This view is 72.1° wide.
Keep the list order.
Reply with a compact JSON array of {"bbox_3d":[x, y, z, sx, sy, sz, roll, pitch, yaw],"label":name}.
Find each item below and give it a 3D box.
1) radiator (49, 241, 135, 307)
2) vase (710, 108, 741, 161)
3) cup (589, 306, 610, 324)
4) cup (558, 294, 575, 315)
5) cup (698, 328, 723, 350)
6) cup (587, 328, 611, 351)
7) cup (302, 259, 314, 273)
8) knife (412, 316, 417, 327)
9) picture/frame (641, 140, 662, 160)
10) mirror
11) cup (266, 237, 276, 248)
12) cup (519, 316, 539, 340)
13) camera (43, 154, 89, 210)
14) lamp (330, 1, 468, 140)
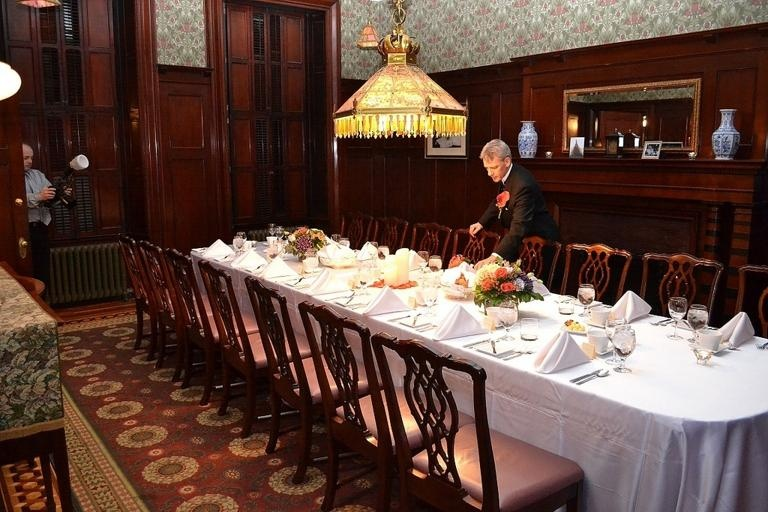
[{"bbox_3d":[-4.238,0.176,7.533,0.839,0.629,0.841,-4,11,-31],"label":"radiator"},{"bbox_3d":[3.671,-1.303,5.675,0.259,0.527,0.288,9,16,34],"label":"vase"},{"bbox_3d":[1.492,0.413,3.662,0.118,0.085,0.108,-4,0,0],"label":"cup"},{"bbox_3d":[1.392,0.378,4.033,0.135,0.139,0.118,-5,10,-28],"label":"cup"},{"bbox_3d":[1.950,0.507,3.220,0.118,0.109,0.147,-6,0,-22],"label":"cup"},{"bbox_3d":[1.330,0.532,3.331,0.127,0.113,0.142,-5,6,-28],"label":"cup"},{"bbox_3d":[-0.715,0.094,5.006,0.120,0.131,0.126,2,8,0],"label":"cup"},{"bbox_3d":[0.209,0.464,3.691,0.037,0.012,0.144,4,11,8],"label":"knife"},{"bbox_3d":[3.168,-1.253,6.256,0.030,0.291,0.254,27,-13,-39],"label":"picture/frame"},{"bbox_3d":[2.968,-1.688,6.433,1.568,0.836,0.154,12,17,38],"label":"mirror"},{"bbox_3d":[-1.262,-0.144,5.935,0.109,0.082,0.110,1,14,0],"label":"cup"},{"bbox_3d":[1.003,0.506,3.668,0.127,0.132,0.112,-2,12,-4],"label":"cup"},{"bbox_3d":[-4.013,-0.946,6.614,0.280,0.374,0.945,-12,-27,-52],"label":"camera"},{"bbox_3d":[0.125,-1.462,4.362,1.119,0.906,0.506,2,14,7],"label":"lamp"}]
